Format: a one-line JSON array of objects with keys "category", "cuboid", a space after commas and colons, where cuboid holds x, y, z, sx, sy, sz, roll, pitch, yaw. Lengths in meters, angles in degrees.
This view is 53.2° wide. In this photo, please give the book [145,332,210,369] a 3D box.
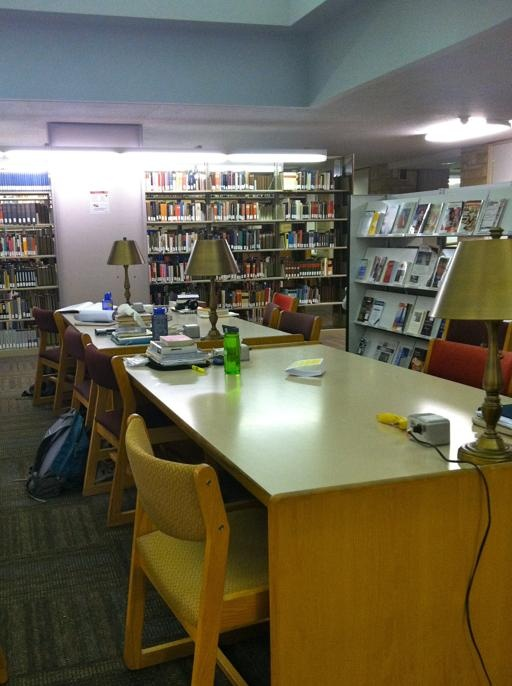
[{"category": "book", "cuboid": [-0.396, 0.038, 2.420, 0.185, 0.083, 0.185, -4, 14, -28]}]

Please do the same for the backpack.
[{"category": "backpack", "cuboid": [-1.093, 0.644, 3.035, 0.383, 0.633, 0.523, 6, -4, -18]}]
